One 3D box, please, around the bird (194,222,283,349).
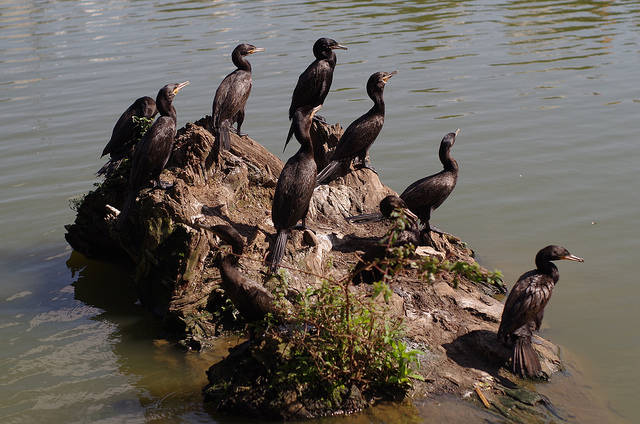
[{"bbox_3d":[-1.209,1.143,12.556,0.696,1.846,1.470,-20,38,-25],"label":"bird"}]
